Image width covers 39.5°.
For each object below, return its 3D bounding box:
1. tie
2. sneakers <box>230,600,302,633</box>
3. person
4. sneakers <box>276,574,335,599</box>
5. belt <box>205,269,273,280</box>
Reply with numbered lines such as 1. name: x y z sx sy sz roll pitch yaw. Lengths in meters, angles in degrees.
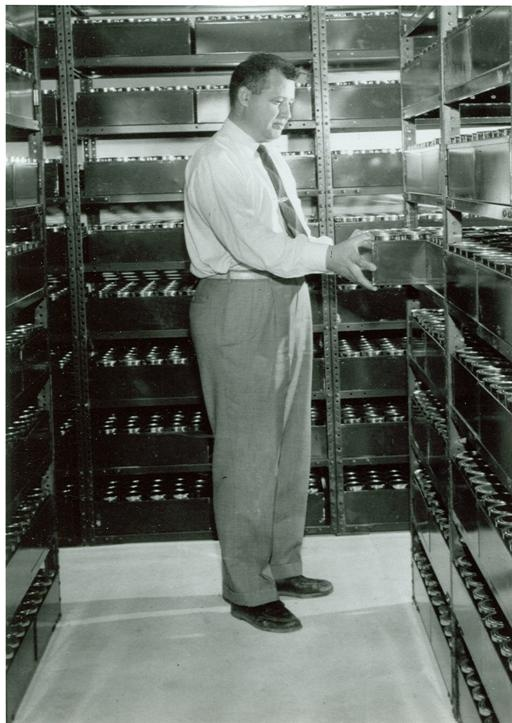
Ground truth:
1. tie: 0.088 -0.467 1.969 0.061 0.246 0.178 0 4 41
2. sneakers: 0.022 0.715 2.041 0.172 0.069 0.070 1 5 32
3. person: 0.045 -0.013 1.957 0.445 1.547 0.575 -2 3 -6
4. sneakers: 0.158 0.700 2.248 0.180 0.070 0.068 -2 8 3
5. belt: -0.044 -0.229 1.900 0.180 0.028 0.046 1 4 37
